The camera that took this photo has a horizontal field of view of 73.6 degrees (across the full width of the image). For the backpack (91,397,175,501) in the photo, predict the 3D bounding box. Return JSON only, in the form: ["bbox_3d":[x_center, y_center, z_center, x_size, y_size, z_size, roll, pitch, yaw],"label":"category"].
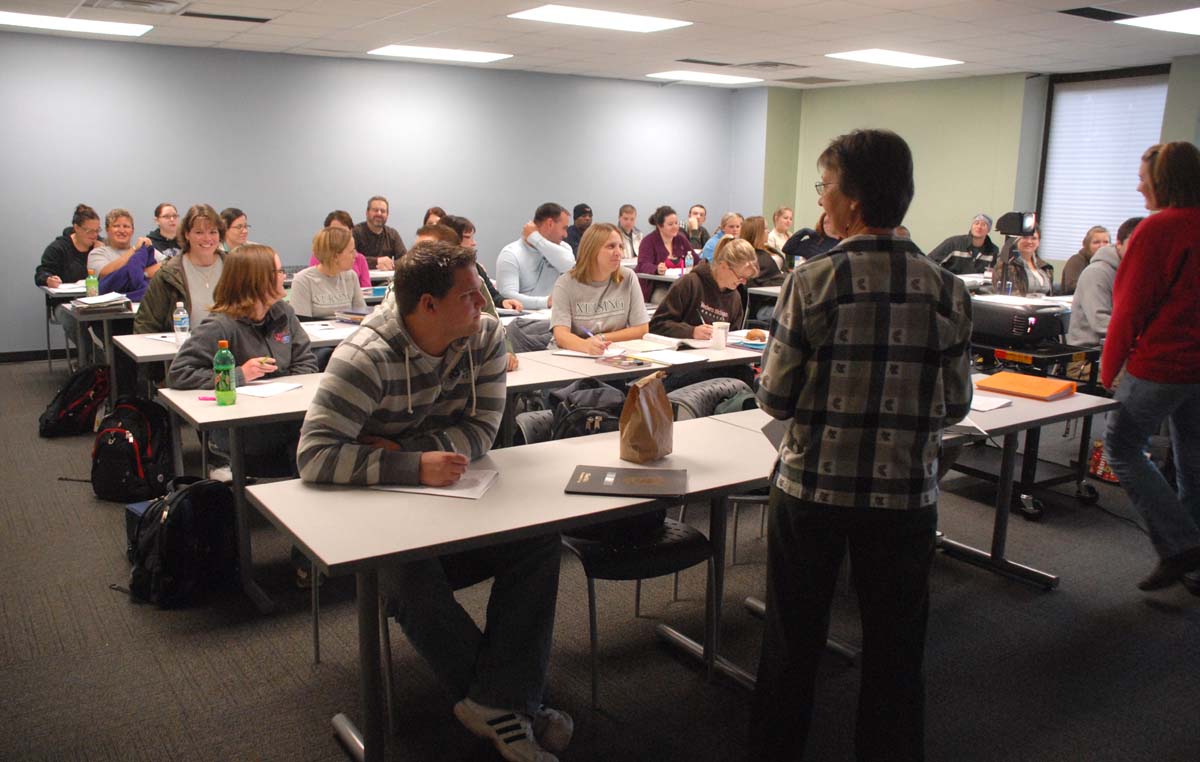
[{"bbox_3d":[-2.944,0.434,4.994,0.492,0.618,0.390,4,0,-10],"label":"backpack"}]

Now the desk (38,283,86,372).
[{"bbox_3d":[-5.047,-0.606,7.702,0.533,0.615,0.706,-1,24,-39],"label":"desk"}]

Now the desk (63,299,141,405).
[{"bbox_3d":[-3.747,-0.225,6.053,0.432,0.728,0.810,-3,10,-36],"label":"desk"}]

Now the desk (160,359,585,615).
[{"bbox_3d":[-1.002,0.476,3.446,1.177,0.544,0.594,-10,18,-41],"label":"desk"}]

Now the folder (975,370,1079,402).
[{"bbox_3d":[2.225,0.025,4.148,0.290,0.065,0.215,11,17,44],"label":"folder"}]

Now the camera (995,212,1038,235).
[{"bbox_3d":[2.790,-1.058,5.450,0.282,0.163,0.205,-7,10,-38],"label":"camera"}]
